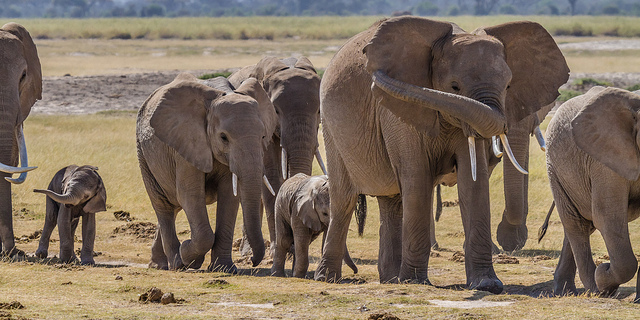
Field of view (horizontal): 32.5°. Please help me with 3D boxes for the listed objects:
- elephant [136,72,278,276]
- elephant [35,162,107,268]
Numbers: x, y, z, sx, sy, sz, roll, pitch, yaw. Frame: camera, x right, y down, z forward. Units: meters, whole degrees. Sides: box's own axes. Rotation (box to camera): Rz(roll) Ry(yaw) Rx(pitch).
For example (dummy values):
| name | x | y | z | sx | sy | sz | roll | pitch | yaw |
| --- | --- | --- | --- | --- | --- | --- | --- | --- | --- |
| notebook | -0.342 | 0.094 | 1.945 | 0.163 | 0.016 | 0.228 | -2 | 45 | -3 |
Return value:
| name | x | y | z | sx | sy | sz | roll | pitch | yaw |
| --- | --- | --- | --- | --- | --- | --- | --- | --- | --- |
| elephant | -2.843 | 0.285 | 27.457 | 3.313 | 4.958 | 1.366 | 0 | -5 | 7 |
| elephant | -6.378 | 1.384 | 28.291 | 1.594 | 2.612 | 2.272 | 2 | -5 | -6 |
